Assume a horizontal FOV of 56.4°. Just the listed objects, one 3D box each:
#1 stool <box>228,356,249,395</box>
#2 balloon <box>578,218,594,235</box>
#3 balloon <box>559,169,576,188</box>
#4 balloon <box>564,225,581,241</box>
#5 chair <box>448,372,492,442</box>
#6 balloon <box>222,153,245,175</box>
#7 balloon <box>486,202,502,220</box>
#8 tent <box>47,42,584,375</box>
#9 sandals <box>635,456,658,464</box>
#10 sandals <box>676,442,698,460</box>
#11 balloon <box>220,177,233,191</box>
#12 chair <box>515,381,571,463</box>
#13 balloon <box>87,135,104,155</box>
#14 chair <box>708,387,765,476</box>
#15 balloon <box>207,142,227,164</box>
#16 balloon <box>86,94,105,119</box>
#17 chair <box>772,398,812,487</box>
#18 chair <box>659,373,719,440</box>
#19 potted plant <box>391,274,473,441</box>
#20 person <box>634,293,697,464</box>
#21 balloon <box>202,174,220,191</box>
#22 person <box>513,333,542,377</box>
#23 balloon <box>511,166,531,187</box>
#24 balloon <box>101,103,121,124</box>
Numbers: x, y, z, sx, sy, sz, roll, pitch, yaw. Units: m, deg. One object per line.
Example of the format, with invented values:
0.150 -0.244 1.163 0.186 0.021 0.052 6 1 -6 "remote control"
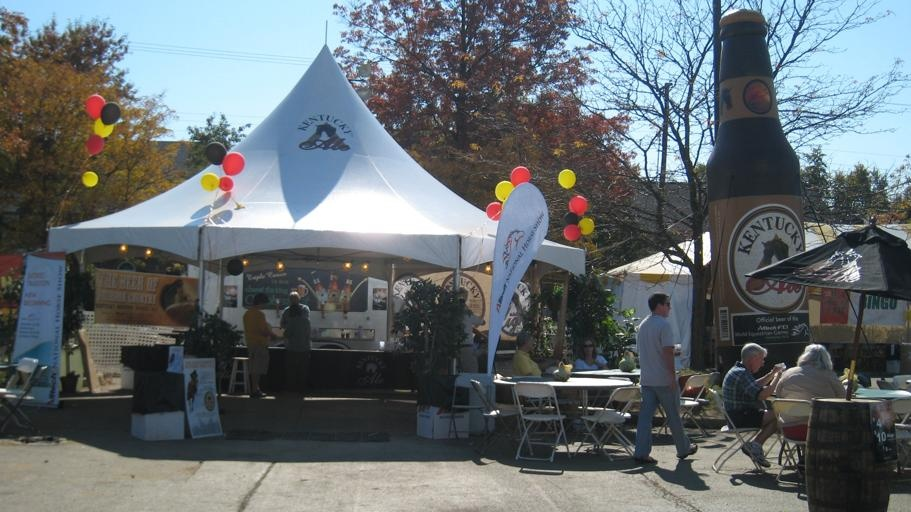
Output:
-4.918 2.708 19.411 0.523 0.742 0.548 -1 -4 19 "stool"
2.906 -0.686 18.793 0.352 0.417 0.359 0 -5 5 "balloon"
2.398 -1.655 18.118 0.279 0.374 0.717 3 8 10 "balloon"
2.581 -0.523 18.715 0.415 0.365 0.354 11 1 -9 "balloon"
0.276 2.798 16.215 0.875 1.636 1.134 -4 -13 15 "chair"
-4.674 -1.942 17.832 0.435 0.447 0.177 1 9 -3 "balloon"
0.856 -0.978 18.358 0.372 0.442 0.378 0 -2 6 "balloon"
-3.449 -1.205 18.263 7.642 3.566 7.700 -3 -7 38 "tent"
3.256 3.460 14.525 0.418 0.180 0.143 2 1 -13 "sandals"
4.010 3.367 14.698 0.360 0.168 0.127 -29 39 -17 "sandals"
-4.735 -1.521 17.784 0.193 0.313 0.404 6 10 29 "balloon"
1.468 2.765 14.522 0.902 1.249 0.999 3 -11 -24 "chair"
-7.355 -2.280 17.357 0.265 0.390 0.572 -2 9 -20 "balloon"
4.958 3.019 15.196 1.296 1.752 1.109 -1 0 9 "chair"
-5.059 -2.164 17.990 0.432 0.458 0.508 -1 9 -17 "balloon"
-7.414 -3.073 17.528 0.338 0.482 1.062 -3 9 -25 "balloon"
5.539 2.927 14.076 0.563 1.383 1.158 5 9 21 "chair"
4.395 2.737 15.894 0.632 0.942 0.748 -15 -9 37 "chair"
-0.387 1.923 16.321 1.194 2.803 1.454 -2 10 -22 "potted plant"
3.580 2.086 14.593 0.946 2.857 0.858 3 9 12 "person"
-5.009 -1.514 17.416 0.390 0.330 0.338 4 -37 -16 "balloon"
1.436 1.947 16.731 0.557 0.897 0.998 3 4 0 "person"
1.337 -1.624 17.269 0.288 0.368 0.613 1 8 -4 "balloon"
-6.974 -2.864 17.218 0.333 0.444 0.347 12 -26 -13 "balloon"
